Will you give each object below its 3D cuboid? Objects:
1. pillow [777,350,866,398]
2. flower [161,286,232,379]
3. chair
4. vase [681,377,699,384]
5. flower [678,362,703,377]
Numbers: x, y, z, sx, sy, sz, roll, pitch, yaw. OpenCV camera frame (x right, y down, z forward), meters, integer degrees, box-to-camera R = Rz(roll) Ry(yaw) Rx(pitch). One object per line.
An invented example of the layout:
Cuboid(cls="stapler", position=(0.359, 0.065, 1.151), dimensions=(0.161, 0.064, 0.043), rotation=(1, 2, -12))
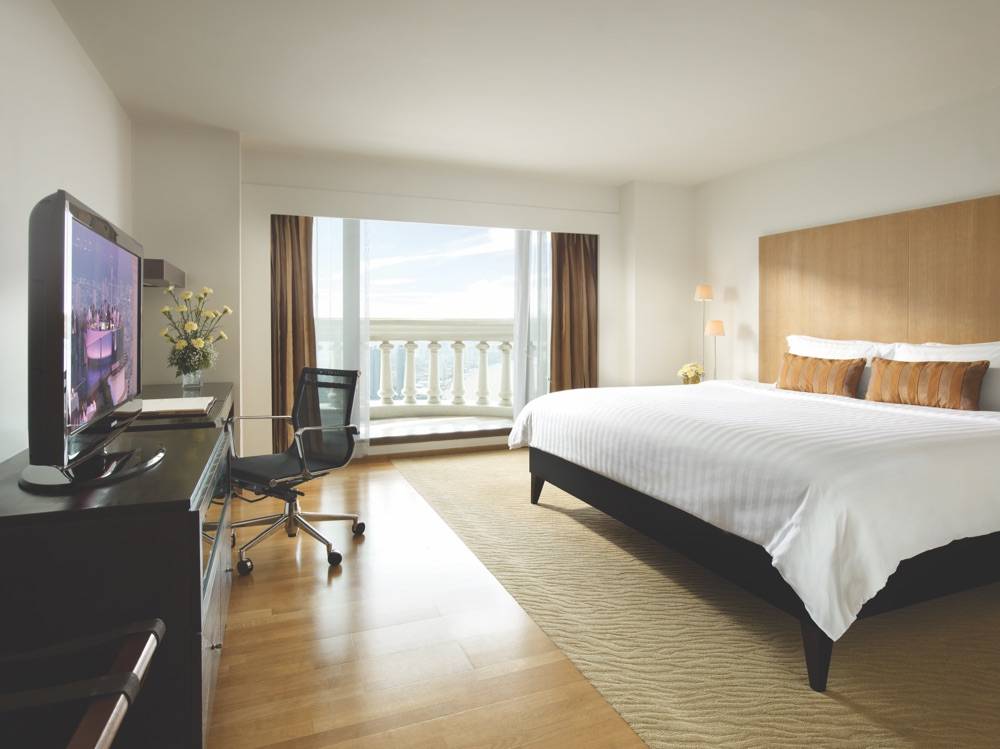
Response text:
Cuboid(cls="pillow", position=(2.342, -0.005, 4.841), dimensions=(0.094, 0.258, 0.670), rotation=(16, -2, -13))
Cuboid(cls="flower", position=(-2.105, -0.265, 4.636), dimensions=(0.492, 0.689, 1.101), rotation=(-4, 11, -22))
Cuboid(cls="chair", position=(-1.172, 0.531, 3.939), dimensions=(0.790, 1.082, 0.795), rotation=(-5, 11, -23))
Cuboid(cls="vase", position=(1.871, 0.057, 6.604), dimensions=(0.107, 0.080, 0.107), rotation=(0, -1, -44))
Cuboid(cls="flower", position=(1.878, -0.050, 6.618), dimensions=(0.161, 0.087, 0.170), rotation=(-2, -2, -1))
